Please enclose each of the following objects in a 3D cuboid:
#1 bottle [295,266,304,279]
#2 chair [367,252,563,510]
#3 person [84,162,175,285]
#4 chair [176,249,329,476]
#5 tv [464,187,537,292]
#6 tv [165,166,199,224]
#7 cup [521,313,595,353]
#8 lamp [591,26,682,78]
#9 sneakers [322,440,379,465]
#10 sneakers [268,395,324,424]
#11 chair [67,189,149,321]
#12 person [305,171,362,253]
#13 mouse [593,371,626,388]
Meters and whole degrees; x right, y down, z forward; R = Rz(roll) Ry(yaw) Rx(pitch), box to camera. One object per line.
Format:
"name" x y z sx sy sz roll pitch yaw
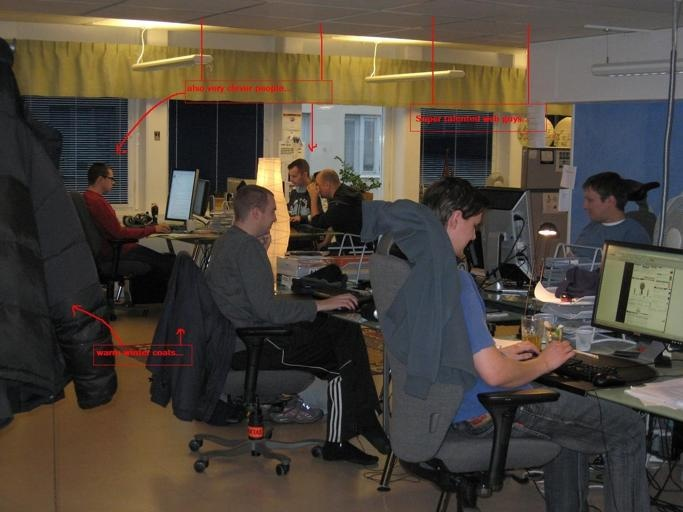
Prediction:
"bottle" -0.280 0.112 4.076 0.059 0.108 0.076 3 11 14
"chair" 0.350 0.442 2.675 0.839 1.025 0.835 -2 2 -16
"person" -2.405 -0.235 6.658 0.939 1.498 0.818 -3 13 -38
"chair" -0.459 0.754 3.498 0.808 0.766 0.818 -1 4 -3
"tv" 0.977 -0.096 3.655 0.350 0.620 0.567 -13 17 -36
"tv" -1.912 -0.709 7.133 0.073 0.759 0.713 4 5 -38
"cup" 0.985 0.343 2.737 0.270 0.093 0.204 4 4 43
"lamp" 2.316 -1.504 4.634 0.681 0.314 1.349 4 10 21
"sneakers" 0.029 1.138 3.505 0.373 0.159 0.127 -2 -1 0
"sneakers" -0.309 0.978 3.949 0.309 0.135 0.220 -2 2 -7
"chair" -2.443 0.003 6.309 0.662 1.357 1.300 -4 10 -24
"person" -0.092 -0.386 7.210 0.631 1.196 0.576 -2 17 -3
"mouse" 1.019 0.468 2.283 0.083 0.030 0.062 -5 6 -36
